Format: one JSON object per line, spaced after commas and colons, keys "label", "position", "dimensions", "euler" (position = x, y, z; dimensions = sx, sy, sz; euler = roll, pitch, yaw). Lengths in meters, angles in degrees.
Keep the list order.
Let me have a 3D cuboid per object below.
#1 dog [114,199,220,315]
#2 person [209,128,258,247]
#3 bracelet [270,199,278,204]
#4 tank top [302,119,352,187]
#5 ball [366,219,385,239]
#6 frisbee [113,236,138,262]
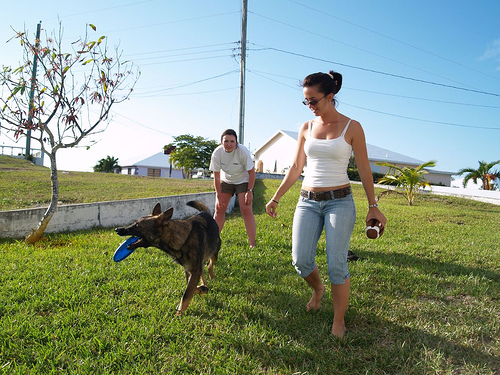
{"label": "dog", "position": [-0.969, 0.826, 4.672], "dimensions": [0.851, 1.310, 1.285], "euler": [3, 9, 9]}
{"label": "person", "position": [-0.362, 0.060, 6.741], "dimensions": [0.910, 2.604, 0.929], "euler": [2, 21, 4]}
{"label": "bracelet", "position": [0.320, 0.180, 4.401], "dimensions": [0.060, 0.048, 0.147], "euler": [4, 10, 10]}
{"label": "tank top", "position": [0.879, -0.394, 3.874], "dimensions": [0.566, 1.018, 0.480], "euler": [-5, -16, 30]}
{"label": "ball", "position": [1.371, 0.449, 3.729], "dimensions": [0.156, 0.207, 0.216], "euler": [11, 1, 22]}
{"label": "frisbee", "position": [-1.560, 0.748, 4.174], "dimensions": [0.054, 0.359, 0.224], "euler": [47, 2, 30]}
